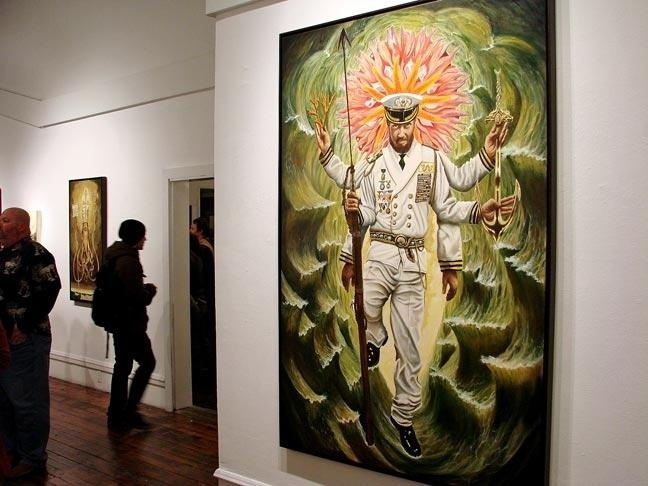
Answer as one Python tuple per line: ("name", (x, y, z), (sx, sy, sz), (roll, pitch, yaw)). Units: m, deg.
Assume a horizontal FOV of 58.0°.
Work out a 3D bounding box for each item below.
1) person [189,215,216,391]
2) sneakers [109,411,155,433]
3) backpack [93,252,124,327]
("person", (-1.175, 0.623, 5.638), (0.222, 1.750, 0.315), (-3, 9, -11))
("sneakers", (-1.711, 1.591, 5.113), (0.417, 0.219, 0.156), (-4, 5, 0))
("backpack", (-1.907, 0.468, 5.107), (0.316, 0.547, 0.118), (4, 4, 24))
